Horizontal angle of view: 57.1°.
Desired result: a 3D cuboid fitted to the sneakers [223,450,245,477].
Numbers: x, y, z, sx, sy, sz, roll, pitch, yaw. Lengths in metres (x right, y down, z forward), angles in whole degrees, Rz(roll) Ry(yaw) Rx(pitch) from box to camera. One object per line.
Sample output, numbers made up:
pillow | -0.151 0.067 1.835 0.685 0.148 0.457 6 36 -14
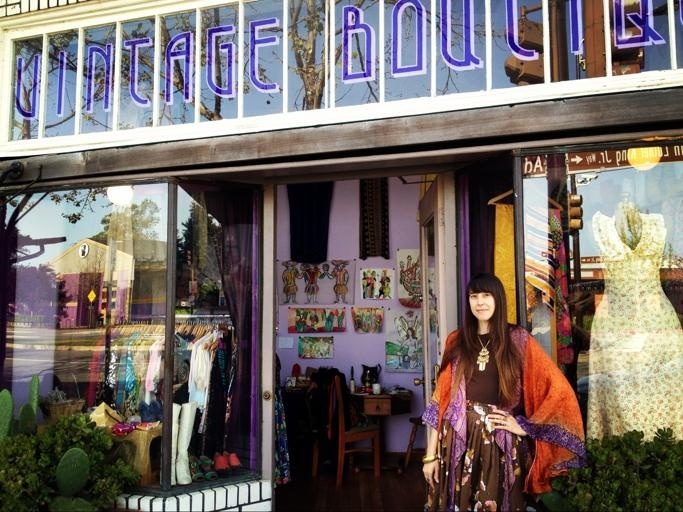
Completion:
sneakers | -0.936 1.796 5.478 0.085 0.116 0.240 6 -7 -36

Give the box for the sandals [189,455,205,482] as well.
sandals | -1.244 1.830 5.381 0.074 0.103 0.219 3 0 -22

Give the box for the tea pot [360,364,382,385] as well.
tea pot | 0.366 1.470 7.770 0.209 0.263 0.172 9 -22 -18

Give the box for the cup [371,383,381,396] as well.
cup | 0.418 1.585 7.505 0.087 0.127 0.098 1 -3 -10

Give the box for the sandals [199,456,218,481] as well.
sandals | -1.152 1.825 5.421 0.088 0.100 0.222 5 7 -27

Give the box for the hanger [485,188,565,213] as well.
hanger | 1.443 -0.432 4.906 0.621 0.225 0.240 -6 -5 22

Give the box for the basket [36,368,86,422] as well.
basket | -2.504 1.226 5.598 0.503 0.448 0.101 -5 -5 22
